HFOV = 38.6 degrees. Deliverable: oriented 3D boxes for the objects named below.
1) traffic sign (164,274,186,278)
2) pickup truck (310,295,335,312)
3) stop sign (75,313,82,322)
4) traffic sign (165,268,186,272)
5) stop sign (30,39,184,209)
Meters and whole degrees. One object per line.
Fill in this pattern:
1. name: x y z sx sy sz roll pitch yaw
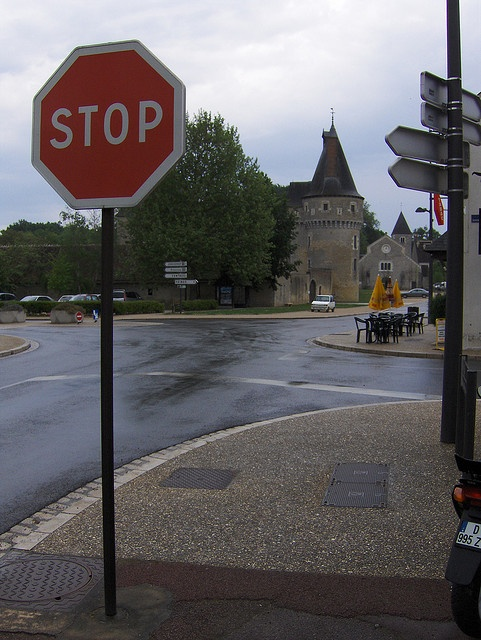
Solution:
1. traffic sign: -4.304 -2.929 45.689 0.583 0.416 1.866 -4 5 -38
2. pickup truck: 6.284 -1.210 51.640 1.030 0.869 2.031 -1 -1 16
3. stop sign: -8.565 -0.163 36.149 0.476 0.664 0.232 0 0 -10
4. traffic sign: -4.354 -3.320 45.804 0.097 0.331 2.205 -4 5 -43
5. stop sign: -0.563 -0.845 2.955 0.737 0.710 0.132 0 3 19
